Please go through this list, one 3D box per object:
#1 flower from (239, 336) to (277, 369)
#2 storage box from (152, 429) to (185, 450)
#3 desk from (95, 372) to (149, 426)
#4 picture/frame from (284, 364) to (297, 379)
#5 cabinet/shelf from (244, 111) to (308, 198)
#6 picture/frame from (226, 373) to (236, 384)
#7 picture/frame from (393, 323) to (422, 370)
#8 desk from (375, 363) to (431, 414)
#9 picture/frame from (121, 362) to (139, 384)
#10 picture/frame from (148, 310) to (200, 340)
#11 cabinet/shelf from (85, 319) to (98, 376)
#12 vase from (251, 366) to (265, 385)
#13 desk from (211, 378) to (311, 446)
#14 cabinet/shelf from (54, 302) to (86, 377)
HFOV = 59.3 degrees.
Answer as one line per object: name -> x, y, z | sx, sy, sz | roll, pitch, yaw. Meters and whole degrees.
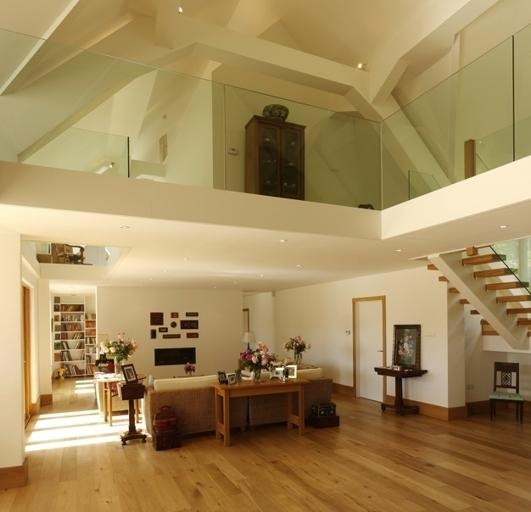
flower -> -0.105, 1.543, 7.086 | 0.514, 0.405, 0.511 | -1, -4, 1
storage box -> -1.340, 2.503, 6.361 | 0.344, 0.255, 0.130 | 0, -3, -8
desk -> -2.438, 2.420, 8.116 | 0.917, 1.061, 0.971 | 7, -10, -14
picture/frame -> 0.373, 1.797, 7.228 | 0.165, 0.203, 0.069 | -2, -12, 22
cabinet/shelf -> 0.115, -1.277, 5.850 | 1.033, 1.129, 0.334 | 2, -4, -35
picture/frame -> -0.498, 1.777, 6.771 | 0.032, 0.140, 0.127 | -10, -9, 35
picture/frame -> 2.607, 1.667, 8.547 | 0.059, 0.929, 0.709 | 4, -6, -26
desk -> 2.401, 2.416, 8.443 | 0.568, 0.792, 0.837 | 3, -6, -26
picture/frame -> -2.001, 1.728, 6.864 | 0.235, 0.239, 0.329 | 1, -4, -18
picture/frame -> -2.408, 1.817, 12.298 | 1.284, 0.729, 0.272 | 1, -3, -18
cabinet/shelf -> -5.321, 2.673, 14.171 | 0.321, 1.792, 0.569 | 1, -3, -23
vase -> -0.142, 1.798, 7.072 | 0.201, 0.284, 0.220 | -2, -2, 24
desk -> -0.075, 2.264, 6.983 | 1.439, 0.817, 0.652 | 1, -4, -24
cabinet/shelf -> -5.902, 2.502, 14.067 | 0.904, 2.124, 0.615 | 1, -3, -25
